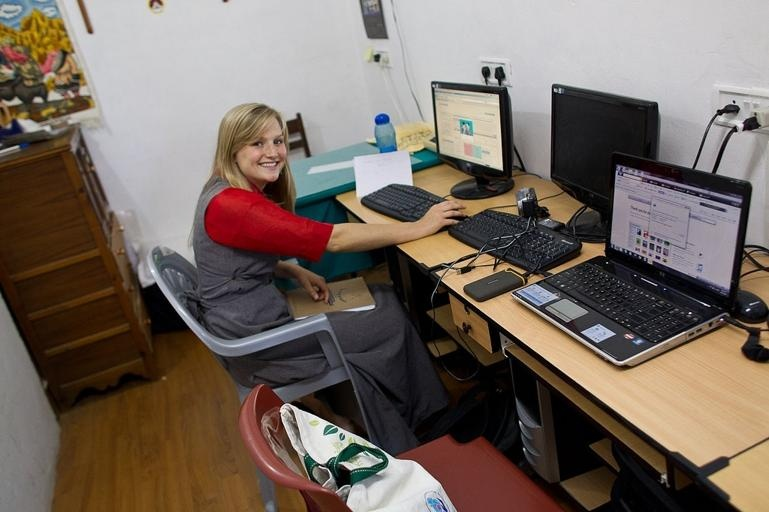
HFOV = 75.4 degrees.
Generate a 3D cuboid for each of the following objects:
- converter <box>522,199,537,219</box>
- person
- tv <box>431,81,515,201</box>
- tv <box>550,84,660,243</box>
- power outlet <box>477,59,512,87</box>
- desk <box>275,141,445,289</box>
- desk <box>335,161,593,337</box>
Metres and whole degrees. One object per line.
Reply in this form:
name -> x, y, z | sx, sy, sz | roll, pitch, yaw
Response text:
converter -> 0.600, -0.197, 2.062 | 0.044, 0.086, 0.061 | -15, 18, -34
person -> -0.311, 0.101, 2.362 | 1.164, 1.558, 0.592 | -8, 18, -3
tv -> 0.439, -0.561, 2.398 | 0.287, 0.449, 0.480 | -29, 33, -27
tv -> 0.816, -0.348, 1.817 | 0.277, 0.488, 0.454 | -21, 34, -26
power outlet -> 0.566, -0.934, 2.521 | 0.075, 0.168, 0.246 | -27, 29, -25
desk -> -0.227, -0.130, 3.120 | 0.888, 0.540, 0.865 | -21, 38, -13
desk -> 0.379, -0.188, 2.274 | 0.966, 0.234, 0.666 | 19, 36, 39
